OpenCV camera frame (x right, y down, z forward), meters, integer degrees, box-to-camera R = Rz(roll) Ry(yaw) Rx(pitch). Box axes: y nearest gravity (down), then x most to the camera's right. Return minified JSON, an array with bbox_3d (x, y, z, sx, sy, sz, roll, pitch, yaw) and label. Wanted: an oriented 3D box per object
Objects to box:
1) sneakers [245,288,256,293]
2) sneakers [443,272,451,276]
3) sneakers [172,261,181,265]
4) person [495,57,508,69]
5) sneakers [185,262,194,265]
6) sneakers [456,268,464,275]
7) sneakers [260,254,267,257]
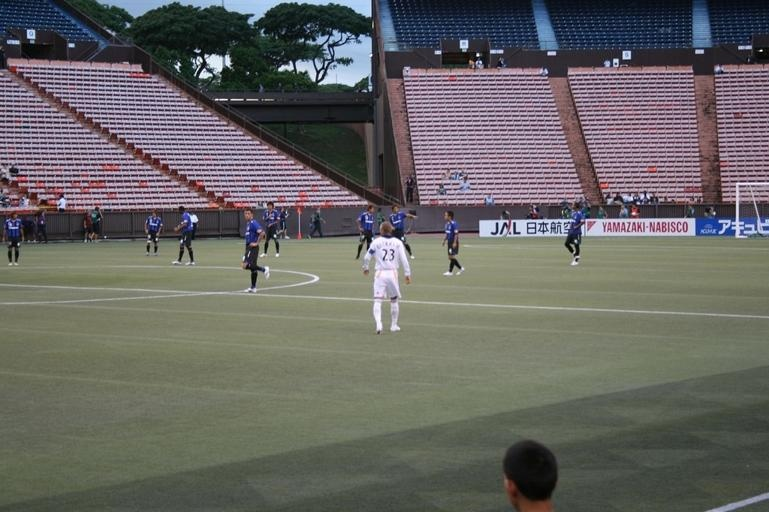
[{"bbox_3d":[-4.331,1.133,36.797,0.381,0.152,0.135,3,0,-3],"label":"sneakers"},{"bbox_3d":[2.334,0.671,42.038,0.118,0.128,0.312,0,0,-38],"label":"sneakers"},{"bbox_3d":[-8.511,0.304,46.480,0.419,0.171,0.150,3,2,-6],"label":"sneakers"},{"bbox_3d":[8.625,-14.181,83.123,1.059,1.106,0.630,-1,-2,-9],"label":"person"},{"bbox_3d":[-7.903,0.323,46.135,0.324,0.138,0.116,2,0,1],"label":"sneakers"},{"bbox_3d":[2.829,0.554,42.208,0.228,0.234,0.682,2,15,4],"label":"sneakers"},{"bbox_3d":[-5.491,-0.017,51.339,0.361,0.137,0.130,1,2,15],"label":"sneakers"}]
